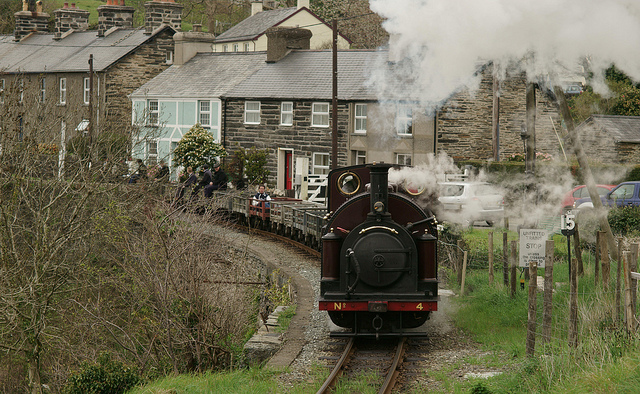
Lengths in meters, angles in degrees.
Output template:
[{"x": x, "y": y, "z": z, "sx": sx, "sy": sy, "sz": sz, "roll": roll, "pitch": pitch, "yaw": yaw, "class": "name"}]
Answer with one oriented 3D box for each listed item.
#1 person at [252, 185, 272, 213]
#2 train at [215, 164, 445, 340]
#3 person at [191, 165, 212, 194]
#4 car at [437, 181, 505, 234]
[{"x": -2.423, "y": 0.022, "z": 35.884, "sx": 1.019, "sy": 1.633, "sz": 0.936, "roll": -1, "pitch": -1, "yaw": -2, "class": "person"}, {"x": 0.950, "y": 1.468, "z": 28.318, "sx": 3.398, "sy": 4.851, "sz": 17.040, "roll": 0, "pitch": 2, "yaw": 1, "class": "train"}, {"x": -5.126, "y": -0.917, "z": 37.507, "sx": 0.662, "sy": 1.228, "sz": 2.365, "roll": 3, "pitch": -2, "yaw": -9, "class": "person"}, {"x": 6.366, "y": 0.202, "z": 35.186, "sx": 2.441, "sy": 1.802, "sz": 2.874, "roll": 2, "pitch": -2, "yaw": 12, "class": "car"}]
